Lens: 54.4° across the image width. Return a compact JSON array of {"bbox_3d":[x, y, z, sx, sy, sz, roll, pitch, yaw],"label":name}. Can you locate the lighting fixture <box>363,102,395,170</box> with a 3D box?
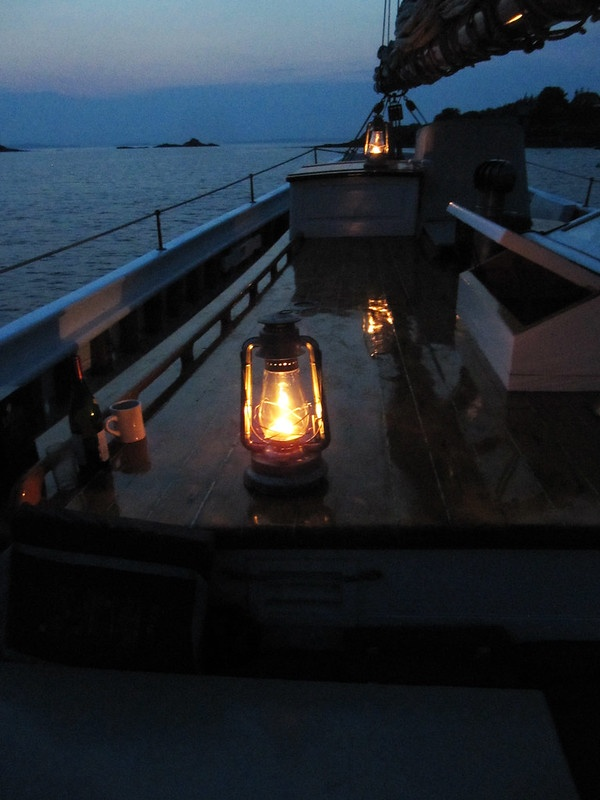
[{"bbox_3d":[1.041,-3.460,7.654,0.374,0.815,0.320,6,21,24],"label":"lighting fixture"}]
